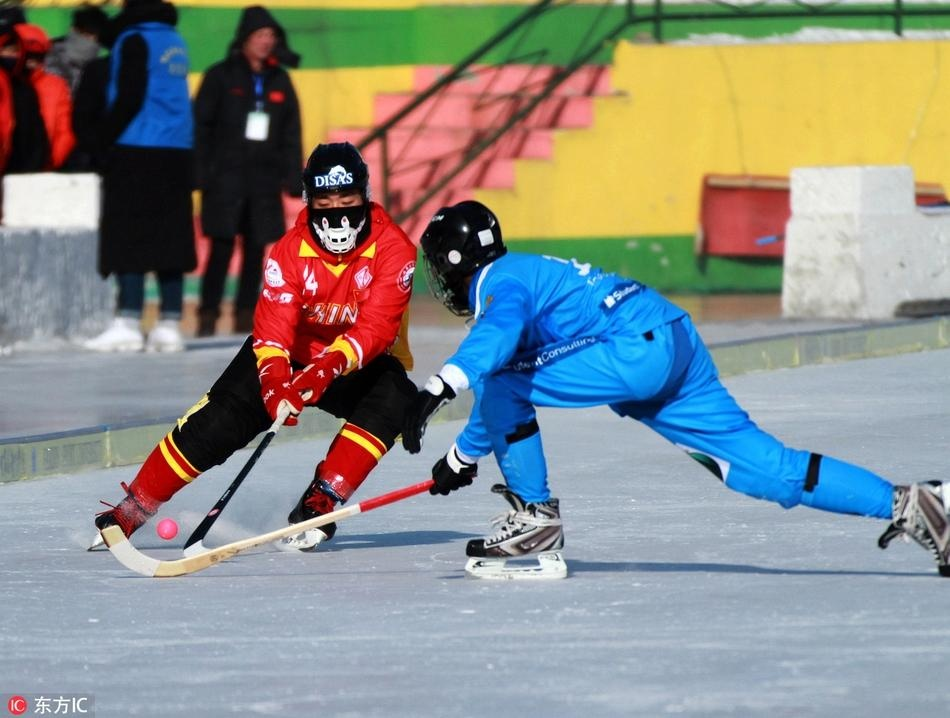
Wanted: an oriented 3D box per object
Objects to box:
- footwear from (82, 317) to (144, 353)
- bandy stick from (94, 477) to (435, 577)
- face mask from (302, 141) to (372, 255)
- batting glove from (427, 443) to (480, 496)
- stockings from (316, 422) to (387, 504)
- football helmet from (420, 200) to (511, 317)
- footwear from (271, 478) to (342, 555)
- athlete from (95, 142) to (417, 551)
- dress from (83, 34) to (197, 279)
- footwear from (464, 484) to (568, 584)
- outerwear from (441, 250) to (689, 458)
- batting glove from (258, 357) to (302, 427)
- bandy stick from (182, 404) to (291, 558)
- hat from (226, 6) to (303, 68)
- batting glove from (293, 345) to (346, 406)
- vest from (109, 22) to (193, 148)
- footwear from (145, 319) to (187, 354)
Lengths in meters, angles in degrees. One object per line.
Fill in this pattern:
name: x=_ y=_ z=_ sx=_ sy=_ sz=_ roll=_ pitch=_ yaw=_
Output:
footwear: x=-2.217 y=-0.145 z=11.558 sx=0.347 sy=0.162 sz=0.215 roll=-1 pitch=0 yaw=-4
bandy stick: x=-0.763 y=0.616 z=6.814 sx=1.302 sy=0.325 sz=0.084 roll=-6 pitch=-24 yaw=-20
face mask: x=-0.498 y=-0.580 z=6.807 sx=0.235 sy=0.390 sz=0.236 roll=-1 pitch=10 yaw=-4
batting glove: x=-0.053 y=0.397 z=6.542 sx=0.244 sy=0.086 sz=0.173 roll=13 pitch=-11 yaw=16
stockings: x=-0.447 y=0.395 z=7.020 sx=0.236 sy=0.298 sz=0.175 roll=44 pitch=-16 yaw=-10
football helmet: x=-0.029 y=-0.368 z=6.453 sx=0.340 sy=0.312 sz=0.265 roll=-16 pitch=6 yaw=24
footwear: x=-0.593 y=0.578 z=6.766 sx=0.130 sy=0.251 sz=0.380 roll=33 pitch=-19 yaw=-17
athlete: x=-0.665 y=-0.159 z=7.082 sx=1.120 sy=1.414 sz=1.644 roll=15 pitch=19 yaw=14
dress: x=-2.021 y=-1.291 z=11.508 sx=0.421 sy=1.486 sz=0.723 roll=10 pitch=10 yaw=36
footwear: x=0.127 y=0.579 z=6.412 sx=0.383 sy=0.279 sz=0.218 roll=0 pitch=11 yaw=-6
outerwear: x=0.384 y=-0.148 z=6.370 sx=0.770 sy=0.360 sz=1.149 roll=11 pitch=24 yaw=22
batting glove: x=-0.685 y=0.107 z=6.676 sx=0.160 sy=0.231 sz=0.092 roll=-12 pitch=-22 yaw=2
bandy stick: x=-0.897 y=0.464 z=7.027 sx=0.082 sy=0.674 sz=0.078 roll=-12 pitch=-52 yaw=50
hat: x=-1.480 y=-2.026 z=11.853 sx=0.616 sy=0.295 sz=0.423 roll=16 pitch=14 yaw=14
batting glove: x=-0.549 y=0.057 z=6.739 sx=0.142 sy=0.235 sz=0.086 roll=35 pitch=-22 yaw=22
vest: x=-1.945 y=-1.632 z=11.303 sx=0.195 sy=0.753 sz=0.658 roll=9 pitch=13 yaw=42
footwear: x=-1.869 y=-0.140 z=11.386 sx=0.228 sy=0.147 sz=0.211 roll=1 pitch=0 yaw=-6
